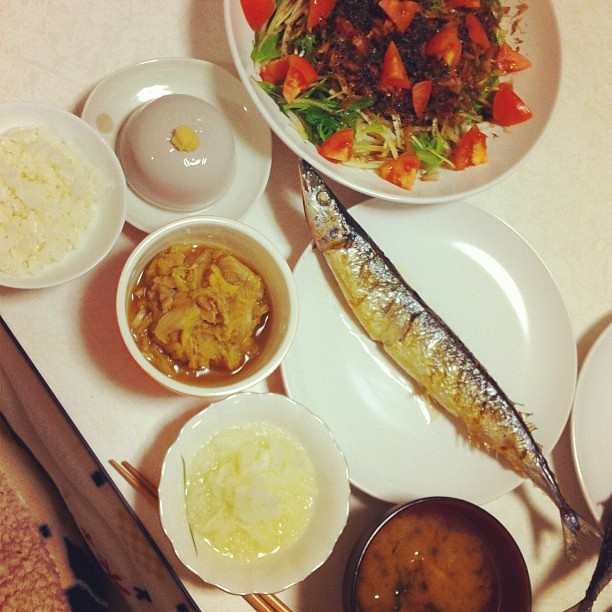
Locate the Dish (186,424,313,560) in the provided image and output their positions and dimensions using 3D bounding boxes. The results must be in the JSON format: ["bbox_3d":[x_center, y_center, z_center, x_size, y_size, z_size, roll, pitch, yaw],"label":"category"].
[{"bbox_3d":[-0.137,0.477,1.781,0.333,0.091,0.340,-8,76,-6],"label":"Dish"}]
